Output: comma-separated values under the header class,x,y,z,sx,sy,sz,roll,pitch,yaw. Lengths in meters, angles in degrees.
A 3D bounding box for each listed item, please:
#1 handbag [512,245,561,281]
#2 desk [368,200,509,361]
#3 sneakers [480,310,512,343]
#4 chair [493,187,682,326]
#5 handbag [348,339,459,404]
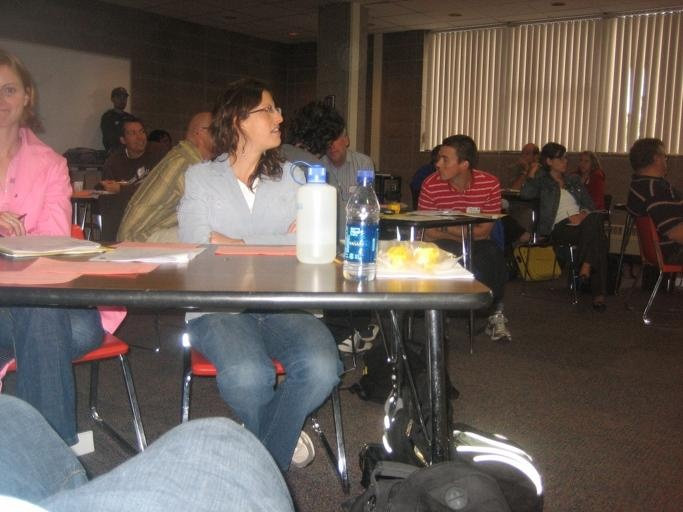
class,x,y,z,sx,sy,sz,roll,pitch,yaw
handbag,1.777,0.067,5.611,0.312,0.282,0.101,-8,-8,-21
desk,0.586,0.086,3.924,0.892,0.813,0.873,-9,15,-27
sneakers,1.067,0.474,4.139,0.168,0.253,0.262,3,8,-8
chair,1.957,0.030,4.985,0.788,1.264,0.818,9,-26,-23
handbag,0.288,0.545,2.948,0.428,0.155,0.362,4,40,-9
